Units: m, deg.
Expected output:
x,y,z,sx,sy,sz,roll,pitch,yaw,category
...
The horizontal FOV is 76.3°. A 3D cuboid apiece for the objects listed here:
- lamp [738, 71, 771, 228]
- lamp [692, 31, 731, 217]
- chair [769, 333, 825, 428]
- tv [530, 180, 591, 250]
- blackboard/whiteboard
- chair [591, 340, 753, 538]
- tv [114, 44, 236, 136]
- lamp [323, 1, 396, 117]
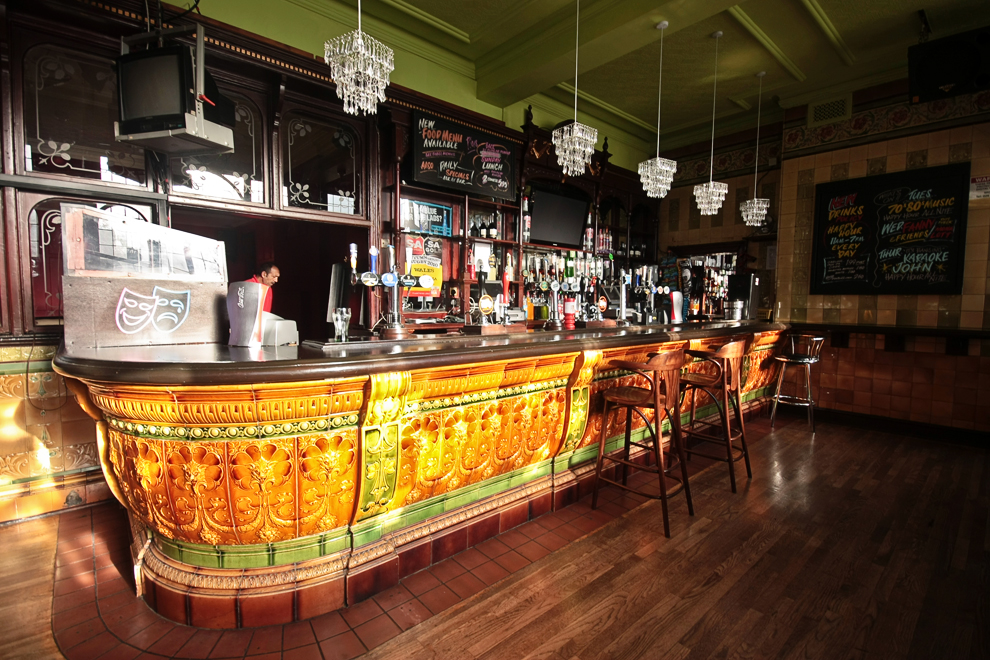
x,y,z,sx,sy,sz,roll,pitch,yaw,category
3.758,-2.439,8.983,0.419,1.866,1.127,2,6,23,lamp
3.065,-2.625,8.777,0.491,2.001,2.676,2,5,19,lamp
4.026,0.612,8.336,0.621,1.128,1.142,3,6,28,chair
0.904,-1.632,9.185,1.162,0.801,0.116,3,11,-38,tv
5.081,-1.194,8.111,0.095,1.751,1.744,17,-11,-42,blackboard/whiteboard
1.672,1.058,6.066,0.759,1.284,1.590,6,8,43,chair
-2.913,-2.095,5.933,0.751,0.670,0.912,-3,3,13,tv
-1.293,-2.584,5.992,0.596,0.949,0.447,2,6,23,lamp
